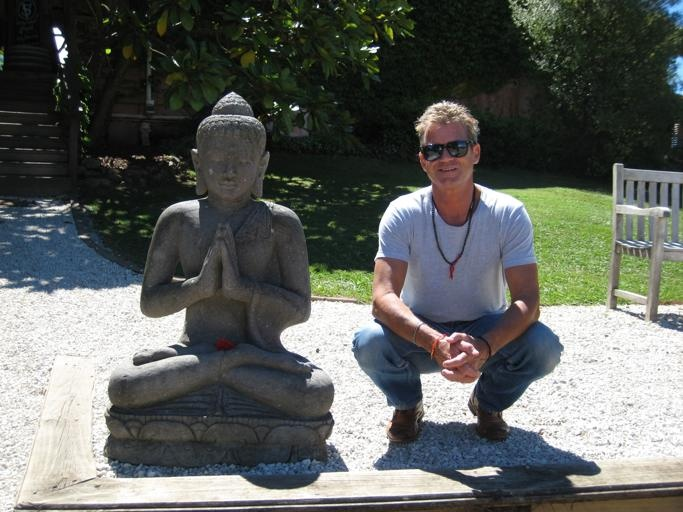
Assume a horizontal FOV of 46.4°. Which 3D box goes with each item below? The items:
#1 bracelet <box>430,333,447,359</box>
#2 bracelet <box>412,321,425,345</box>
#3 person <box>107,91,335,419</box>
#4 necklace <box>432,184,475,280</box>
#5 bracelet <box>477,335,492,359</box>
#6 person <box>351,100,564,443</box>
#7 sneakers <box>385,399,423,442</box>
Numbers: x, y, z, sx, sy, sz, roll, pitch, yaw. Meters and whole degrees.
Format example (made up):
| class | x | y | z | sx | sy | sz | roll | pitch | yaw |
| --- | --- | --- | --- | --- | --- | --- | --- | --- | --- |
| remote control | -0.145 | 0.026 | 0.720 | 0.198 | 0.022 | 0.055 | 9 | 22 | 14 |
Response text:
| class | x | y | z | sx | sy | sz | roll | pitch | yaw |
| --- | --- | --- | --- | --- | --- | --- | --- | --- | --- |
| bracelet | 0.599 | 0.557 | 4.949 | 0.034 | 0.119 | 0.087 | 28 | 8 | 39 |
| bracelet | 0.487 | 0.492 | 5.042 | 0.029 | 0.100 | 0.106 | 11 | -4 | 20 |
| person | -0.708 | -0.024 | 5.109 | 1.312 | 2.032 | 0.593 | 1 | 9 | -4 |
| necklace | 0.732 | -0.264 | 5.193 | 0.248 | 1.044 | 0.039 | 0 | 33 | 10 |
| bracelet | 0.906 | 0.571 | 4.987 | 0.097 | 0.124 | 0.070 | 4 | 9 | 14 |
| person | 0.747 | 0.127 | 5.218 | 1.256 | 2.278 | 0.824 | 2 | 9 | 1 |
| sneakers | 0.448 | 1.099 | 5.435 | 0.211 | 0.180 | 0.456 | -2 | 20 | 24 |
